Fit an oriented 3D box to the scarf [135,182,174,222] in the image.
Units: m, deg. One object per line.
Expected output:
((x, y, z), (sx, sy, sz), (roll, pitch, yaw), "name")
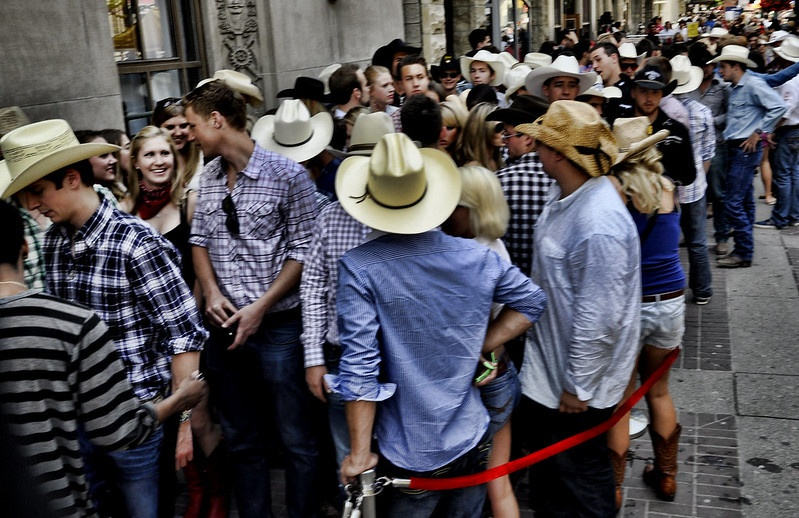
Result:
((-1.866, -0.449, 5.768), (0.277, 0.273, 0.172), (1, -1, 15), "scarf")

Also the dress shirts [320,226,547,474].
((0.145, 0.518, 4.336), (1.643, 1.241, 0.564), (-7, 13, -35), "dress shirts")

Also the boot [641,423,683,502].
((1.947, 1.483, 5.606), (0.246, 0.570, 0.328), (1, 15, 17), "boot")
